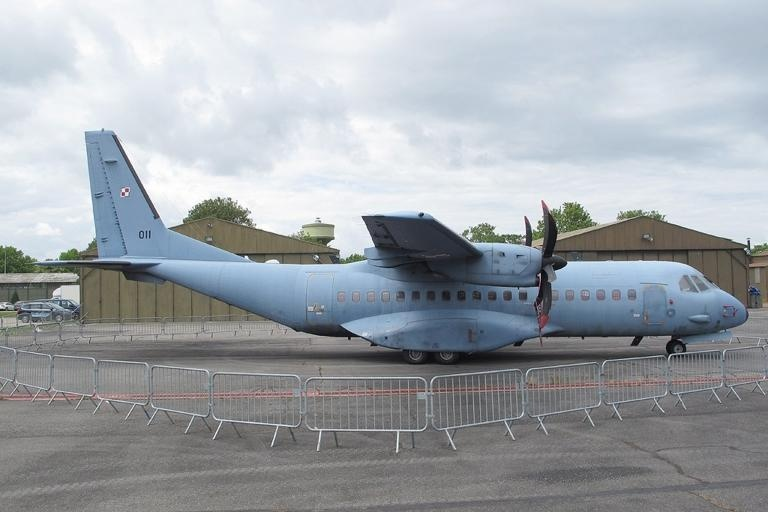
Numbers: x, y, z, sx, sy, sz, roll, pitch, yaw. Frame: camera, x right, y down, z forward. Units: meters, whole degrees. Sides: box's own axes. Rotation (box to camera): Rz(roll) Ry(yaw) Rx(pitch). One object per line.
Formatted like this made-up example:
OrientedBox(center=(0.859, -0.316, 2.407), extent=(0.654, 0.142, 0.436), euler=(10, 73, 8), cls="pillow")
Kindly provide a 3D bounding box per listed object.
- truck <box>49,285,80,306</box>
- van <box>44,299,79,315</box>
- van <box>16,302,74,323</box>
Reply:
OrientedBox(center=(-23.337, 2.981, 60.258), extent=(3.093, 1.779, 1.550), euler=(0, -4, 14), cls="truck")
OrientedBox(center=(-21.094, 3.558, 54.332), extent=(2.629, 1.095, 1.298), euler=(-1, 1, 0), cls="van")
OrientedBox(center=(-21.673, 3.679, 52.047), extent=(4.080, 1.217, 1.796), euler=(-1, 1, -7), cls="van")
